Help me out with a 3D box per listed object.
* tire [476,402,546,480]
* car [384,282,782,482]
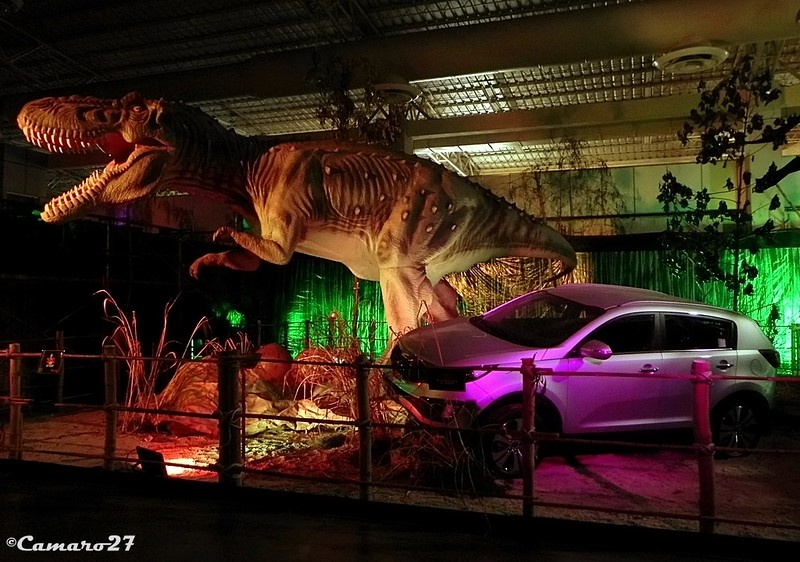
[{"bbox_3d":[1.107,1.698,6.023,0.618,0.820,0.994,4,6,19],"label":"tire"},{"bbox_3d":[2.303,1.081,7.670,4.718,1.888,2.520,2,9,-22],"label":"car"}]
